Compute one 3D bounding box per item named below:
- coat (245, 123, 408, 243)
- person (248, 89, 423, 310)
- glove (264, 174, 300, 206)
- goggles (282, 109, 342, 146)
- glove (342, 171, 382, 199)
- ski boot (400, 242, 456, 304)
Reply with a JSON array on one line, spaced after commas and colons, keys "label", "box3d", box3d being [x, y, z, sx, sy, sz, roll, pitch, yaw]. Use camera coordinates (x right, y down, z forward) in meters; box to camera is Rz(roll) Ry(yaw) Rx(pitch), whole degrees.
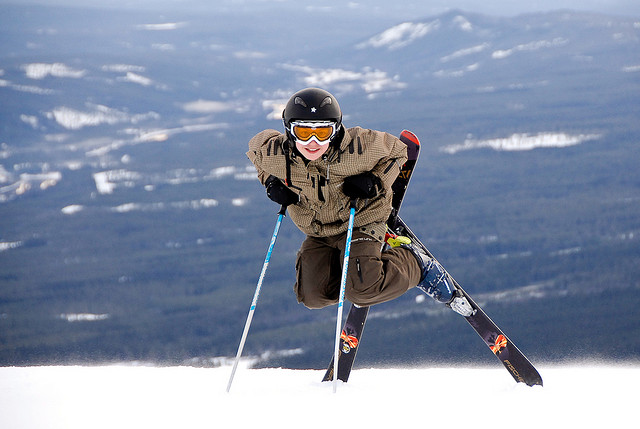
[{"label": "coat", "box3d": [0.076, -0.219, 6.000, 1.147, 0.940, 0.485, -3, 24, 5]}, {"label": "person", "box3d": [0.132, -0.106, 5.927, 1.185, 1.588, 0.703, -3, 25, 6]}, {"label": "glove", "box3d": [-0.309, -0.178, 6.014, 0.245, 0.180, 0.099, 44, 9, 33]}, {"label": "goggles", "box3d": [-0.035, -0.594, 5.762, 0.353, 0.174, 0.103, -5, 24, -2]}, {"label": "glove", "box3d": [0.290, -0.211, 5.836, 0.183, 0.143, 0.237, 8, -8, 10]}, {"label": "ski boot", "box3d": [0.834, 0.451, 6.368, 0.406, 0.576, 0.253, -21, 28, -30]}]
